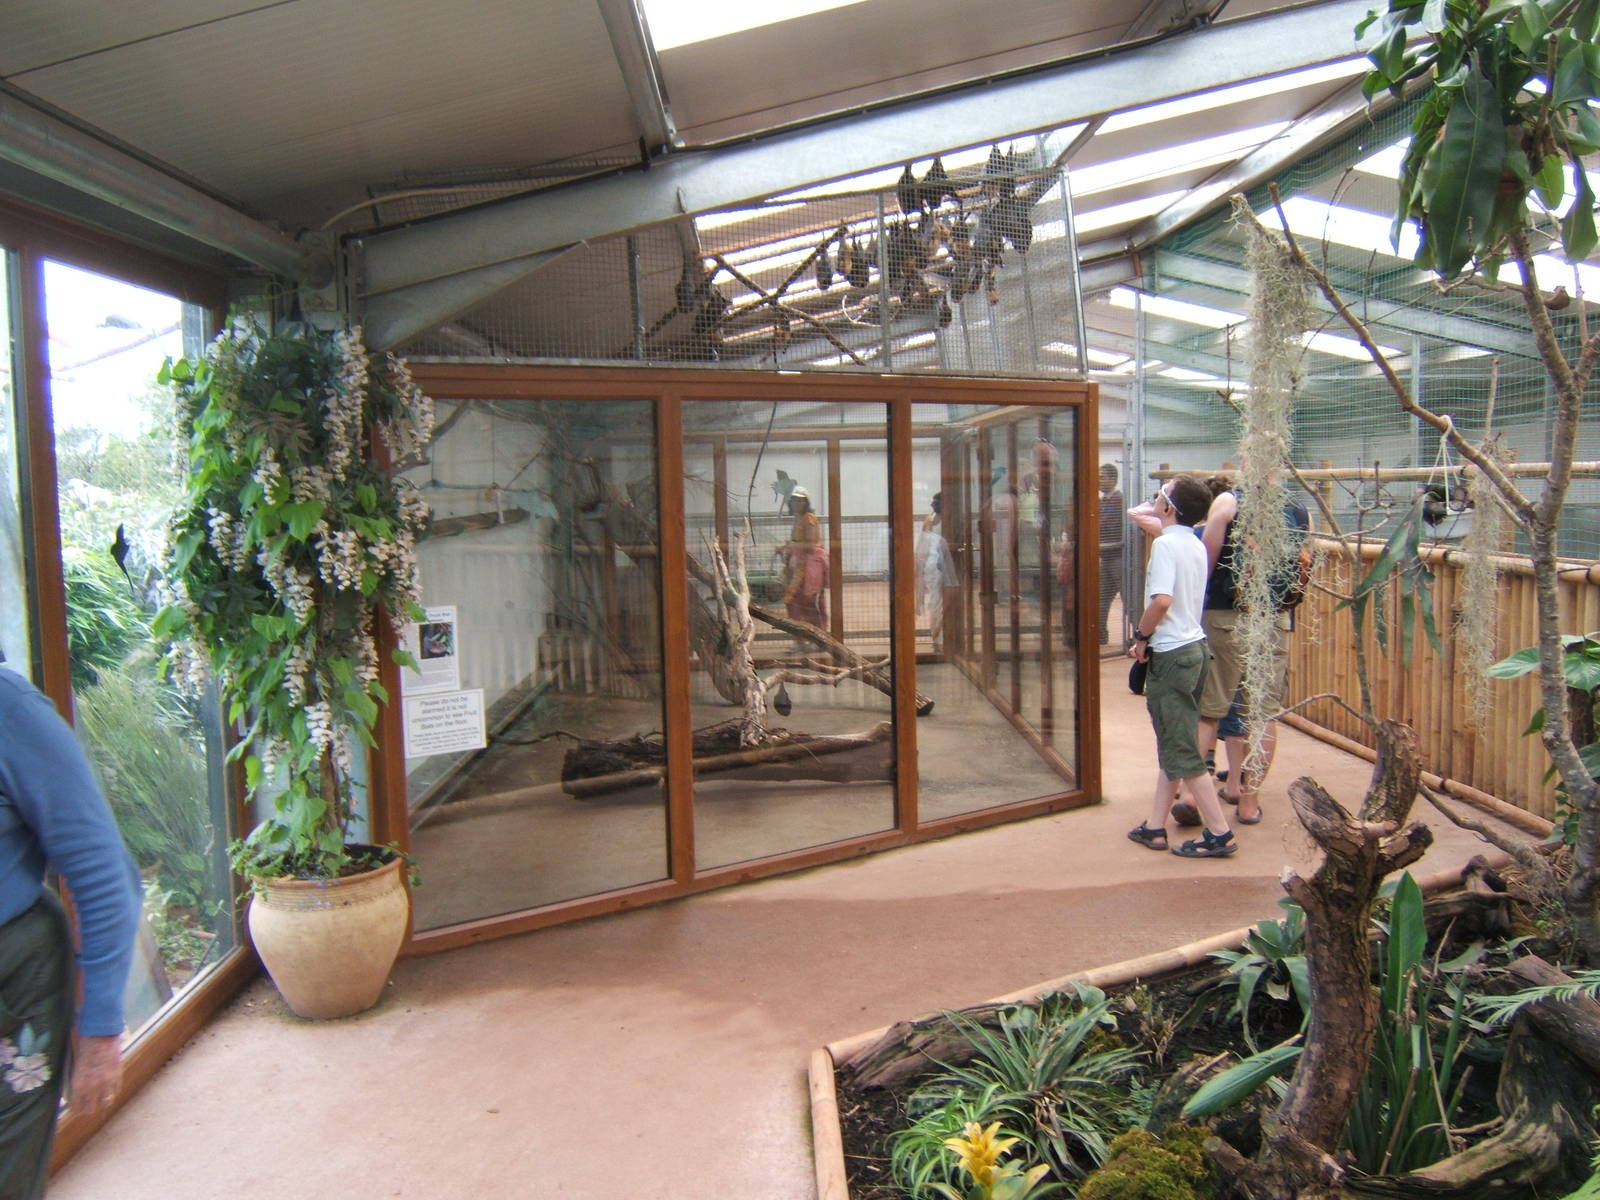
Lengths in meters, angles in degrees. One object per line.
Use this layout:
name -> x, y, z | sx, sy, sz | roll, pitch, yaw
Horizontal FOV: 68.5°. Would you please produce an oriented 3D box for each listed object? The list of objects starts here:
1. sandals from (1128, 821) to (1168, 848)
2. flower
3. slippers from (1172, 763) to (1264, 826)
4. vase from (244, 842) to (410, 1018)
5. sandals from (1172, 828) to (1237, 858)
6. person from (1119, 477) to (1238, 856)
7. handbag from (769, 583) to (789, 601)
sandals -> 2.057, 1.396, 6.985 | 0.103, 0.090, 0.224 | -6, 9, -18
flower -> -2.192, -0.019, 5.177 | 1.117, 2.471, 0.627 | -5, 6, -25
slippers -> 2.613, 1.292, 7.462 | 0.566, 0.367, 0.465 | -3, -11, 9
vase -> -2.075, 1.426, 5.267 | 0.722, 0.628, 0.696 | -3, 8, -26
sandals -> 2.327, 1.399, 6.759 | 0.323, 0.138, 0.159 | 1, 8, 11
person -> 2.194, 0.383, 6.813 | 0.586, 2.182, 0.577 | -1, 5, 19
handbag -> -0.102, -0.053, 6.696 | 0.104, 0.072, 0.056 | -2, 14, -14
